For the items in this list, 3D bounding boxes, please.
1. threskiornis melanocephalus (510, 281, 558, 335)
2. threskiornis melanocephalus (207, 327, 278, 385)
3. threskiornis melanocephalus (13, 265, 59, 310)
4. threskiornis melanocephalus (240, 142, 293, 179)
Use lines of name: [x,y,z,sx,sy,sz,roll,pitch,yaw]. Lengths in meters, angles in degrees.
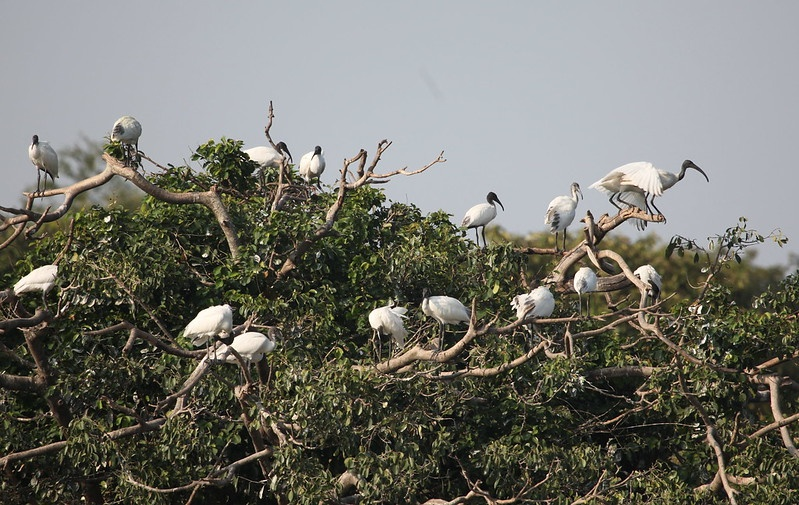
threskiornis melanocephalus: [2.621,0.973,19.819,0.987,0.516,0.665,-30,-67,7]
threskiornis melanocephalus: [-2.798,1.786,19.177,1.319,0.562,0.887,0,-90,-5]
threskiornis melanocephalus: [-6.700,0.724,19.449,0.708,1.142,0.558,5,-53,-10]
threskiornis melanocephalus: [-3.178,-2.120,24.878,1.294,0.874,0.468,-2,-15,0]
